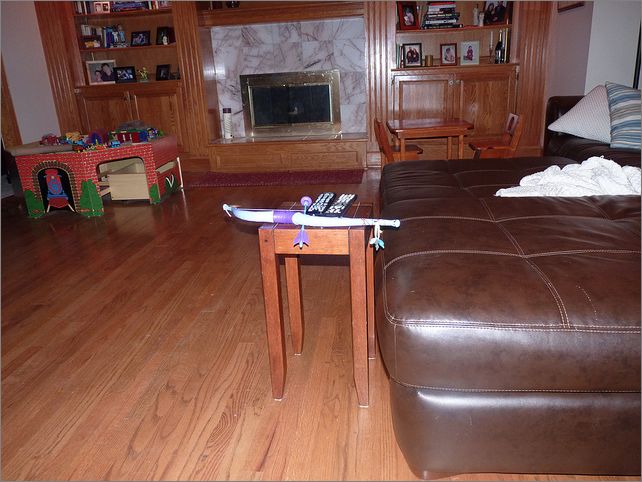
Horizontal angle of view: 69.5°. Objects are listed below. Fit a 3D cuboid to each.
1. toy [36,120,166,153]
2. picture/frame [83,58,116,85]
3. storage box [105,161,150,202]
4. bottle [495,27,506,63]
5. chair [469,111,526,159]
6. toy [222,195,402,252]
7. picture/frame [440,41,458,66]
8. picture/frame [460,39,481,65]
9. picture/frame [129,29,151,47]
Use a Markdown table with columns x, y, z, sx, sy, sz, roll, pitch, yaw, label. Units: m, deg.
| x | y | z | sx | sy | sz | roll | pitch | yaw | label |
| --- | --- | --- | --- | --- | --- | --- | --- | --- | --- |
| -1.972 | -0.962 | 4.210 | 1.053 | 0.180 | 0.621 | -16 | 22 | -29 | toy |
| -2.655 | -2.027 | 5.533 | 0.368 | 0.392 | 0.027 | 0 | 12 | 1 | picture/frame |
| -1.816 | -0.530 | 4.486 | 0.404 | 0.258 | 0.429 | -1 | 24 | -2 | storage box |
| 1.959 | -2.133 | 5.023 | 0.104 | 0.348 | 0.239 | 3 | 20 | 20 | bottle |
| 1.588 | -0.880 | 4.246 | 0.408 | 0.558 | 0.410 | -2 | 25 | 7 | chair |
| -0.030 | -0.099 | 1.710 | 0.508 | 0.134 | 0.285 | 6 | 26 | 8 | toy |
| 1.415 | -2.078 | 5.099 | 0.178 | 0.218 | 0.181 | -2 | 19 | 7 | picture/frame |
| 1.636 | -2.085 | 5.084 | 0.190 | 0.231 | 0.096 | 0 | 20 | 11 | picture/frame |
| -2.162 | -2.424 | 5.511 | 0.285 | 0.265 | 0.030 | 0 | -1 | 3 | picture/frame |
